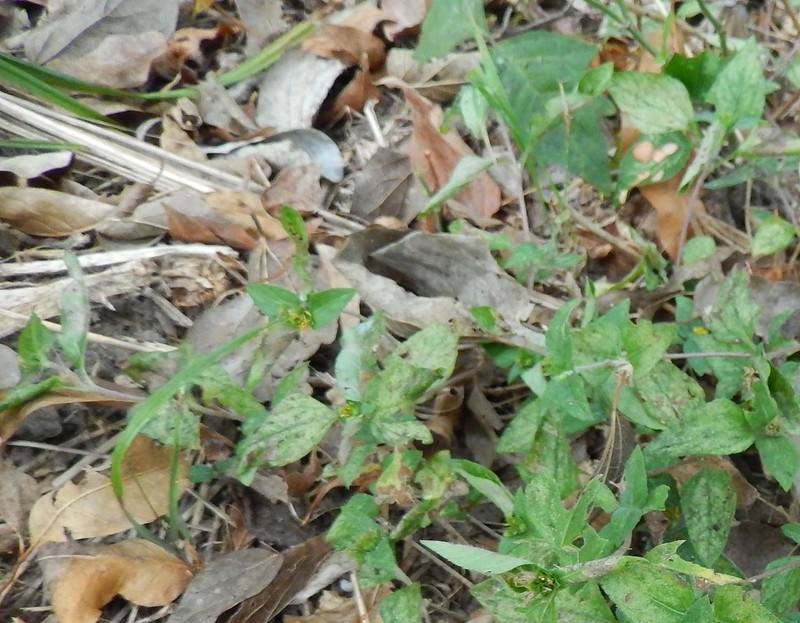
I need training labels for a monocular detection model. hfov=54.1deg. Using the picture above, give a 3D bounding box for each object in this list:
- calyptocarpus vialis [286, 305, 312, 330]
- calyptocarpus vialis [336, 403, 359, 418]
[{"bbox_3d":[-0.190,0.013,1.468,0.038,0.043,0.018,-3,21,0],"label":"calyptocarpus vialis"},{"bbox_3d":[-0.097,0.186,1.477,0.032,0.015,0.026,5,98,-18],"label":"calyptocarpus vialis"}]
